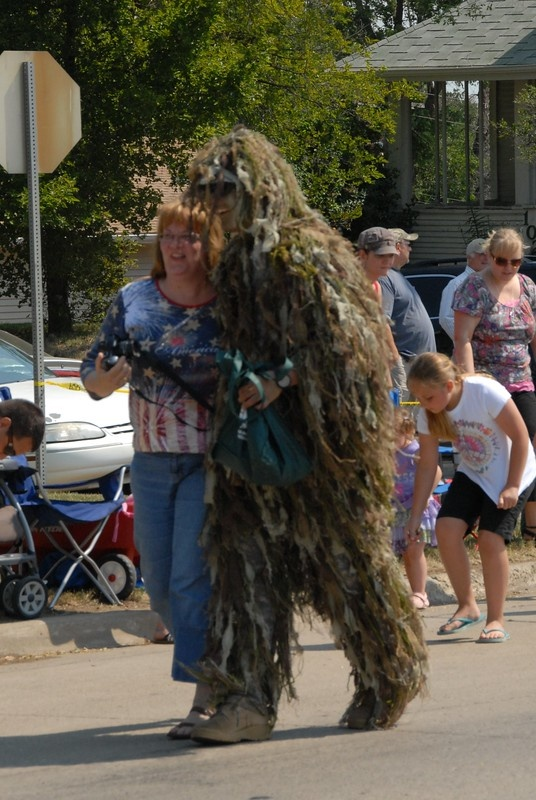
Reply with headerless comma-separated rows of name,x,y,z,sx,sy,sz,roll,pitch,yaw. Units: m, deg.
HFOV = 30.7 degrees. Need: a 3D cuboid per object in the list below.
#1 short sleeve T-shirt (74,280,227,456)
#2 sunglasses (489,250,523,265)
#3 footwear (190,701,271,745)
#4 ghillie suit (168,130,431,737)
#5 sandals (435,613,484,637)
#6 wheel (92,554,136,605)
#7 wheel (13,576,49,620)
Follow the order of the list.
short sleeve T-shirt,-0.272,-0.110,3.316,0.707,0.630,0.361,2,19,-3
sunglasses,1.247,-0.724,5.075,0.162,0.054,0.090,-1,7,-1
footwear,-0.094,1.020,3.120,0.292,0.120,0.108,5,-2,-33
ghillie suit,0.120,0.123,3.168,0.814,2.020,0.463,-2,8,-9
sandals,0.949,1.118,4.883,0.240,0.057,0.084,-8,-2,-41
wheel,-0.894,1.060,5.707,0.330,0.317,0.112,2,1,8
wheel,-1.247,1.043,5.131,0.083,0.203,0.215,-8,-17,41
